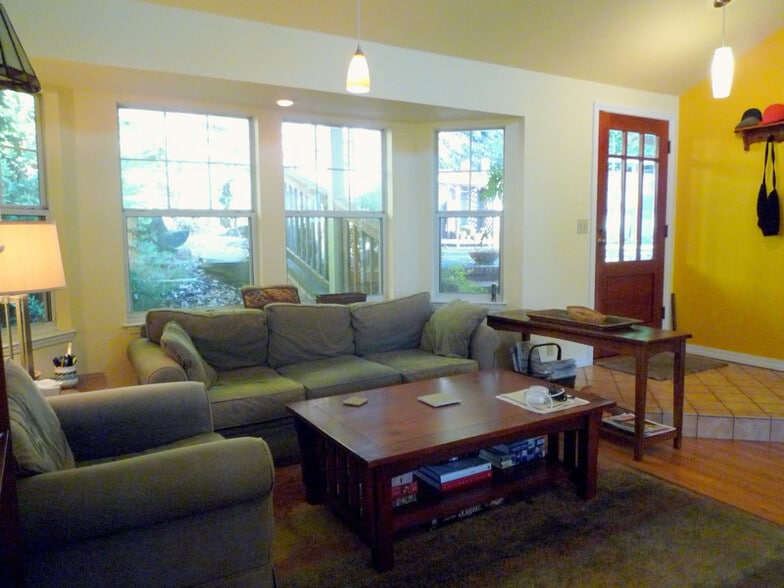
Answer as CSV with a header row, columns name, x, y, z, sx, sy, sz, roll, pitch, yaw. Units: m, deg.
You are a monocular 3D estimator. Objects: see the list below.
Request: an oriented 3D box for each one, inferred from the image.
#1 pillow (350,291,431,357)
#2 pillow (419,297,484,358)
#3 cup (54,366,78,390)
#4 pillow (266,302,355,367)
name,x,y,z,sx,sy,sz,roll,pitch,yaw
pillow,-0.010,0.267,4.854,0.449,0.309,0.155,-10,-8,-25
pillow,0.488,0.278,4.691,0.139,0.456,0.445,29,-8,-40
cup,-1.997,0.504,3.672,0.155,0.156,0.156,-2,-3,0
pillow,-0.646,0.339,4.695,0.808,0.533,0.275,-1,-9,-39
